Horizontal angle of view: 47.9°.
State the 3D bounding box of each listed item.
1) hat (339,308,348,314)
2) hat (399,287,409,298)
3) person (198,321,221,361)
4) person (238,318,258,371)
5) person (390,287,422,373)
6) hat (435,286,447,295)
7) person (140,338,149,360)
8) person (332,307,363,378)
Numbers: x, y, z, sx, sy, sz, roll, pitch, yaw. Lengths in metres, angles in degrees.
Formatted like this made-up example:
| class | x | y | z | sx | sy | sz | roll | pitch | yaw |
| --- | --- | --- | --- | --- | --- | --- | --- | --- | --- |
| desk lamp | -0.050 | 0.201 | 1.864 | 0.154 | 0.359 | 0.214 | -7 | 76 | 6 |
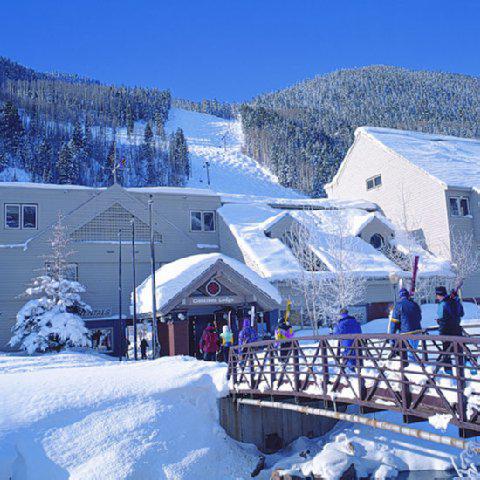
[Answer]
| class | x | y | z | sx | sy | sz | roll | pitch | yaw |
| --- | --- | --- | --- | --- | --- | --- | --- | --- | --- |
| hat | 2.609 | 1.807 | 13.583 | 0.182 | 0.212 | 0.151 | 17 | -21 | -35 |
| hat | 3.799 | 1.220 | 12.538 | 0.203 | 0.274 | 0.173 | 13 | -16 | -17 |
| person | -1.203 | 4.032 | 20.860 | 0.737 | 1.542 | 1.987 | -1 | 0 | -5 |
| person | 0.245 | 3.321 | 18.188 | 0.554 | 1.739 | 0.367 | -12 | 31 | -18 |
| person | 3.893 | 1.913 | 12.555 | 0.526 | 1.958 | 0.578 | -7 | 27 | 9 |
| hat | 4.375 | 1.163 | 11.754 | 0.169 | 0.223 | 0.238 | 8 | 17 | 25 |
| person | -4.893 | 5.519 | 27.229 | 0.286 | 1.069 | 1.675 | -1 | 0 | -8 |
| person | 2.748 | 2.308 | 13.586 | 0.633 | 1.807 | 0.611 | -14 | 35 | 2 |
